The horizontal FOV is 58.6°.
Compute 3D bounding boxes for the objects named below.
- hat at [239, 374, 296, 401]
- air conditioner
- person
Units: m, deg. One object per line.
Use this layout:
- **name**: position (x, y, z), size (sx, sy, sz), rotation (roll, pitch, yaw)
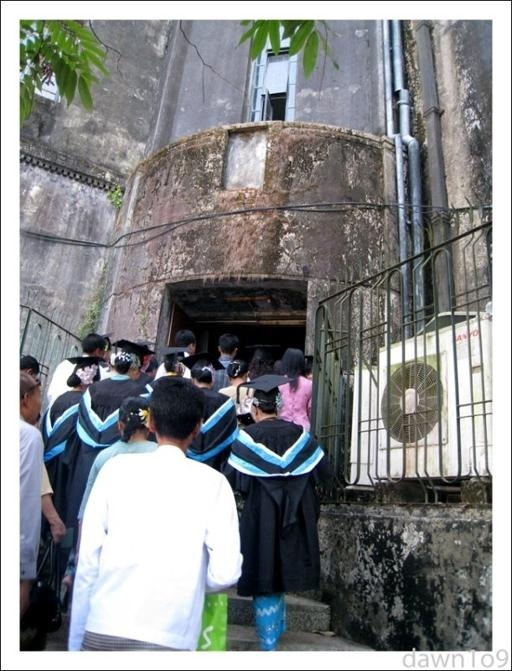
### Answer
- **hat**: position (0.094, 0.426, 3.697), size (0.209, 0.077, 0.242), rotation (-18, 19, -21)
- **air conditioner**: position (1.226, 0.412, 3.437), size (0.861, 1.115, 0.498), rotation (-7, 15, 7)
- **person**: position (-0.317, 0.592, 1.584), size (0.500, 0.954, 0.429), rotation (15, -18, -37)
